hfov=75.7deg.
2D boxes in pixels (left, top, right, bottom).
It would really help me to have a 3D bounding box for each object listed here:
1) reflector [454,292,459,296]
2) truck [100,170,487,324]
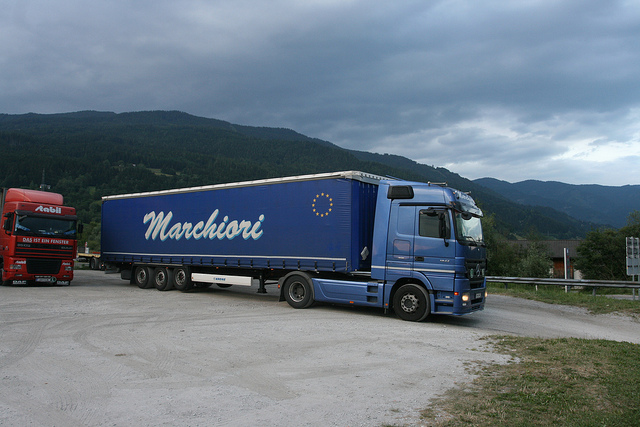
[{"bbox_3d":[4.482,2.668,13.578,0.099,0.100,0.068,1,5,22],"label":"reflector"},{"bbox_3d":[-2.407,1.476,19.395,17.864,5.131,4.195,-2,-7,29],"label":"truck"}]
